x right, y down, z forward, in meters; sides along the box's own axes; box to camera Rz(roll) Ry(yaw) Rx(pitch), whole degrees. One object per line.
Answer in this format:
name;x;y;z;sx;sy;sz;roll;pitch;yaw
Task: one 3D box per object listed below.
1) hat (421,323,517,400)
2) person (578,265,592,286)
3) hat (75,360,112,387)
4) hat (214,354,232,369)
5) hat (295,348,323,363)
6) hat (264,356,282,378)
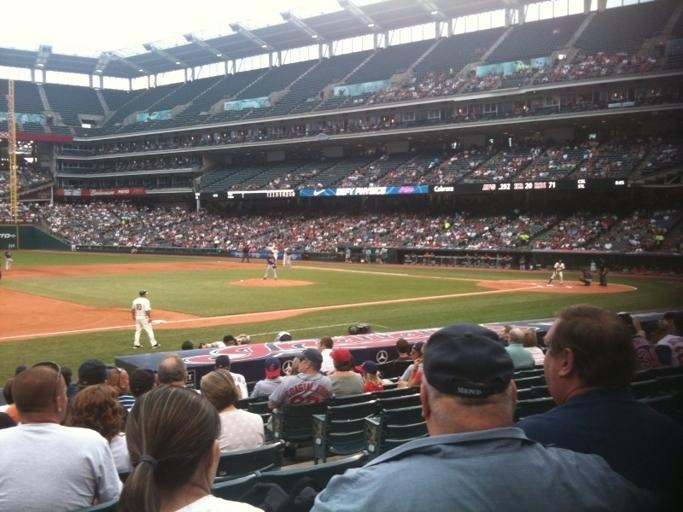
hat;0.923;0.766;5.354;0.506;0.250;0.628;0;23;1
person;10.316;0.919;31.550;0.388;0.735;0.827;-7;-8;12
hat;-3.003;1.406;9.206;0.377;0.399;0.431;2;17;-15
hat;-1.605;1.471;10.336;0.179;0.221;0.233;13;23;10
hat;-0.411;1.289;9.729;0.256;0.116;0.176;4;0;32
hat;-0.907;1.571;10.612;0.360;0.240;0.538;-2;1;-9
